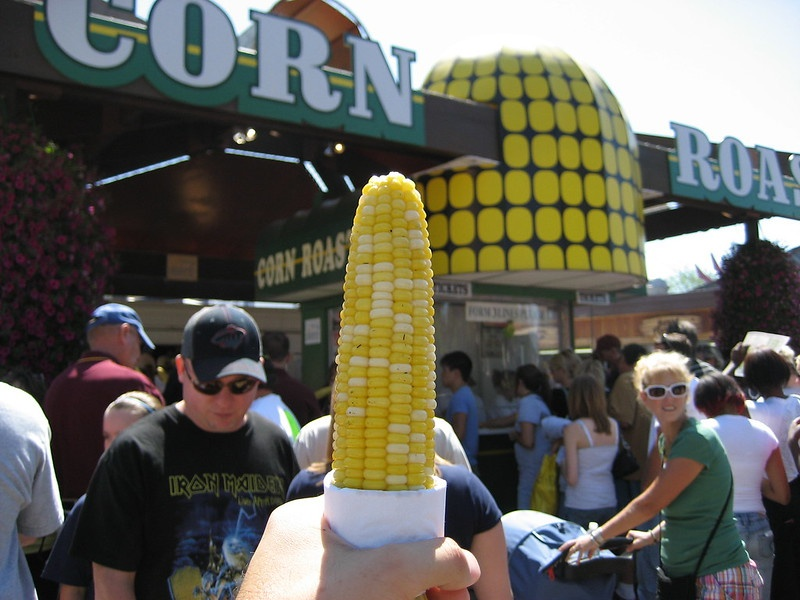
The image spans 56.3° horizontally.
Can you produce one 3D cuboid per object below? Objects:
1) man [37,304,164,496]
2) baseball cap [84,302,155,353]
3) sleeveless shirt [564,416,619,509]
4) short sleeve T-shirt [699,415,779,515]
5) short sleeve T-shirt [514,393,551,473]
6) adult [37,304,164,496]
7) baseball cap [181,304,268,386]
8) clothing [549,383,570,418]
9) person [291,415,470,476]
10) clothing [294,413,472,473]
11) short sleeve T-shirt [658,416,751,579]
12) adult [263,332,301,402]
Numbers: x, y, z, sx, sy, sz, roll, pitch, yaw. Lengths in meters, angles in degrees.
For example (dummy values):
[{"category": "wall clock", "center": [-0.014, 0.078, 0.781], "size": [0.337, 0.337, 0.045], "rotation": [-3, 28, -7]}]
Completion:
[{"category": "man", "center": [-2.028, 0.654, 4.946], "size": [0.570, 1.594, 0.533], "rotation": [-14, -29, 17]}, {"category": "baseball cap", "center": [-2.089, 0.159, 5.636], "size": [0.520, 0.310, 0.349], "rotation": [13, -14, -38]}, {"category": "sleeveless shirt", "center": [1.837, 1.413, 6.758], "size": [0.376, 0.529, 0.797], "rotation": [-18, -5, 5]}, {"category": "short sleeve T-shirt", "center": [2.328, 1.138, 5.157], "size": [0.580, 0.683, 0.354], "rotation": [1, -3, 10]}, {"category": "short sleeve T-shirt", "center": [1.384, 1.413, 8.002], "size": [0.411, 0.813, 0.431], "rotation": [-4, -7, 25]}, {"category": "adult", "center": [-2.028, 0.654, 4.946], "size": [0.570, 1.594, 0.533], "rotation": [-14, -29, 17]}, {"category": "baseball cap", "center": [-0.979, 0.231, 4.157], "size": [0.438, 0.394, 0.647], "rotation": [6, 1, -38]}, {"category": "clothing", "center": [1.792, 1.128, 8.317], "size": [0.171, 0.293, 0.099], "rotation": [-1, -5, 36]}, {"category": "person", "center": [-0.300, 1.059, 5.454], "size": [0.953, 0.443, 1.233], "rotation": [-3, -10, 6]}, {"category": "clothing", "center": [-0.227, 0.927, 4.952], "size": [0.673, 0.276, 0.722], "rotation": [2, -5, -24]}, {"category": "short sleeve T-shirt", "center": [1.967, 1.299, 4.862], "size": [0.482, 1.117, 0.808], "rotation": [-6, -10, 7]}, {"category": "adult", "center": [-1.131, 0.576, 7.004], "size": [0.210, 0.937, 0.232], "rotation": [-12, -15, -8]}]
